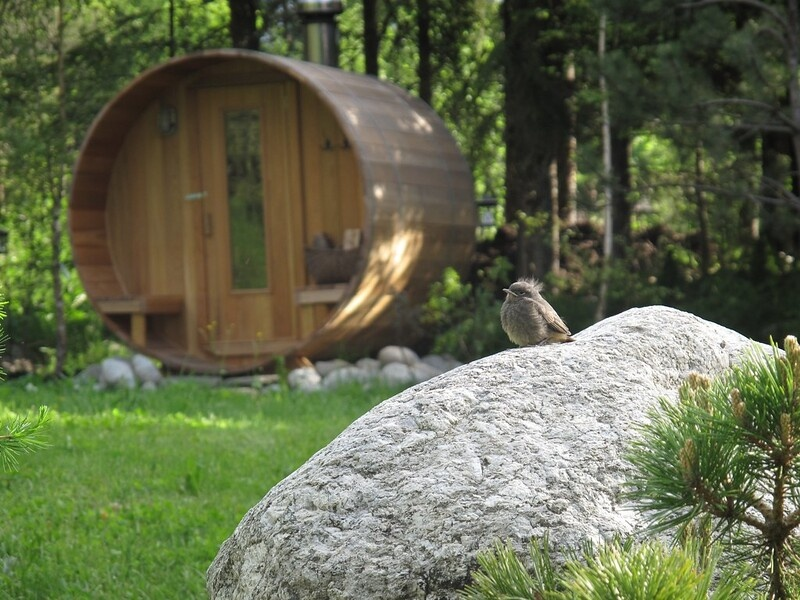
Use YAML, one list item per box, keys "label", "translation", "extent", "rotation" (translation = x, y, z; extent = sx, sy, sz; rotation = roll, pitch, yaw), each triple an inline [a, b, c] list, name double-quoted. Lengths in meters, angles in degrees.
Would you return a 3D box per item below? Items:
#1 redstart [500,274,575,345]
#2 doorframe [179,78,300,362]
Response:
- label: "redstart"
  translation: [0.991, 0.092, 16.228]
  extent: [0.494, 0.471, 0.259]
  rotation: [-1, 3, 3]
- label: "doorframe"
  translation: [-1.363, -0.870, 19.895]
  extent: [0.735, 2.811, 0.500]
  rotation: [-4, 8, -15]
